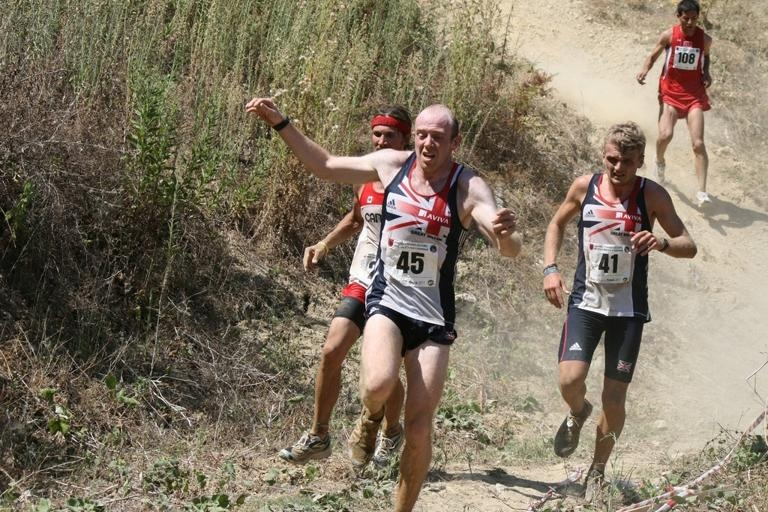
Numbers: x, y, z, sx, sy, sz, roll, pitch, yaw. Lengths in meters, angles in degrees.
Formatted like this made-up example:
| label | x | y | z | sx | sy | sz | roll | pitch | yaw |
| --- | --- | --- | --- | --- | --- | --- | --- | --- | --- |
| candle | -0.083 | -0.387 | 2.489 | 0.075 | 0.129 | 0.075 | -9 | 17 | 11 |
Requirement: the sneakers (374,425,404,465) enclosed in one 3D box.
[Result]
| label | x | y | z | sx | sy | sz | roll | pitch | yaw |
| --- | --- | --- | --- | --- | --- | --- | --- | --- | --- |
| sneakers | 0.055 | 1.818 | 8.090 | 0.165 | 0.485 | 0.193 | 13 | -11 | 22 |

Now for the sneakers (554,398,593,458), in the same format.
| label | x | y | z | sx | sy | sz | roll | pitch | yaw |
| --- | --- | --- | --- | --- | --- | --- | --- | --- | --- |
| sneakers | 1.830 | 1.705 | 8.374 | 0.219 | 0.287 | 0.645 | 17 | 32 | 25 |

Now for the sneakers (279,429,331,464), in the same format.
| label | x | y | z | sx | sy | sz | roll | pitch | yaw |
| --- | --- | --- | --- | --- | --- | --- | --- | --- | --- |
| sneakers | -0.690 | 1.738 | 7.841 | 0.565 | 0.300 | 0.213 | -6 | 11 | -22 |

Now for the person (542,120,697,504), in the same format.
| label | x | y | z | sx | sy | sz | roll | pitch | yaw |
| --- | --- | --- | --- | --- | --- | --- | --- | --- | --- |
| person | 2.063 | 0.508 | 7.954 | 1.247 | 3.414 | 0.934 | 14 | 15 | 19 |

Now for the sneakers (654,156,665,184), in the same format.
| label | x | y | z | sx | sy | sz | roll | pitch | yaw |
| --- | --- | --- | --- | --- | --- | --- | --- | --- | --- |
| sneakers | 4.183 | -1.287 | 12.827 | 0.130 | 0.458 | 0.181 | -1 | 7 | 4 |

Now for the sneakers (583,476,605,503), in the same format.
| label | x | y | z | sx | sy | sz | roll | pitch | yaw |
| --- | --- | --- | --- | --- | --- | --- | --- | --- | --- |
| sneakers | 1.929 | 2.146 | 7.818 | 0.155 | 0.224 | 0.180 | 14 | 15 | 14 |

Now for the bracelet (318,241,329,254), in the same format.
| label | x | y | z | sx | sy | sz | roll | pitch | yaw |
| --- | --- | --- | --- | --- | --- | --- | --- | --- | --- |
| bracelet | -0.584 | -0.075 | 8.311 | 0.074 | 0.092 | 0.036 | -4 | -4 | 29 |

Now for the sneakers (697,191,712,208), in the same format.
| label | x | y | z | sx | sy | sz | roll | pitch | yaw |
| --- | --- | --- | --- | --- | --- | --- | --- | --- | --- |
| sneakers | 4.744 | -0.836 | 12.587 | 0.137 | 0.202 | 0.267 | -6 | -6 | 5 |

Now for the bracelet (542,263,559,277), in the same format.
| label | x | y | z | sx | sy | sz | roll | pitch | yaw |
| --- | --- | --- | --- | --- | --- | --- | --- | --- | --- |
| bracelet | 1.595 | 0.136 | 8.081 | 0.118 | 0.103 | 0.140 | 0 | -11 | -4 |
